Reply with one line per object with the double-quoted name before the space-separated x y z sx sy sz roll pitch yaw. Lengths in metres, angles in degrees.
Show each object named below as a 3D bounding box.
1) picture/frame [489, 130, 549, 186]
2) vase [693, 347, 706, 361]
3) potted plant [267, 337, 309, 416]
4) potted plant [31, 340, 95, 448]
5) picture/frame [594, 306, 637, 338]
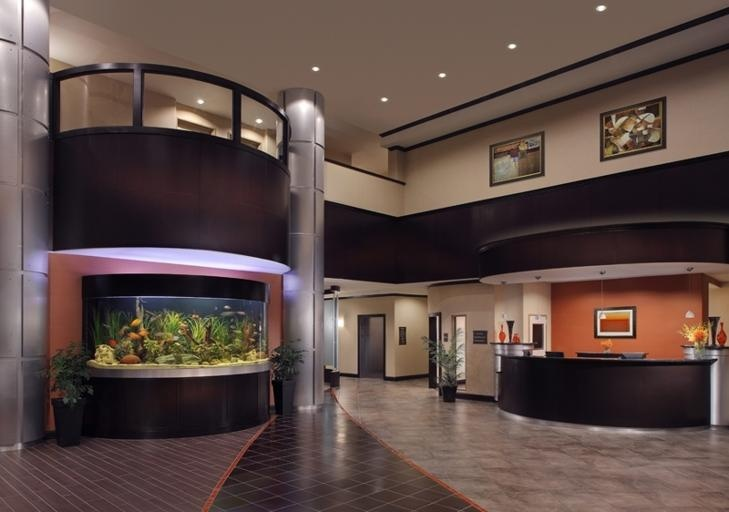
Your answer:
"picture/frame" 4.405 -2.829 15.514 1.620 1.338 0.124 -13 34 -2
"vase" 7.357 2.133 11.831 0.156 0.284 0.709 1 -1 22
"potted plant" -1.742 2.667 11.861 0.726 1.414 0.515 2 -1 -43
"potted plant" -5.043 2.337 9.088 0.694 1.831 0.761 2 -1 -41
"picture/frame" 6.701 1.824 14.324 1.003 0.827 0.537 -3 -16 29
